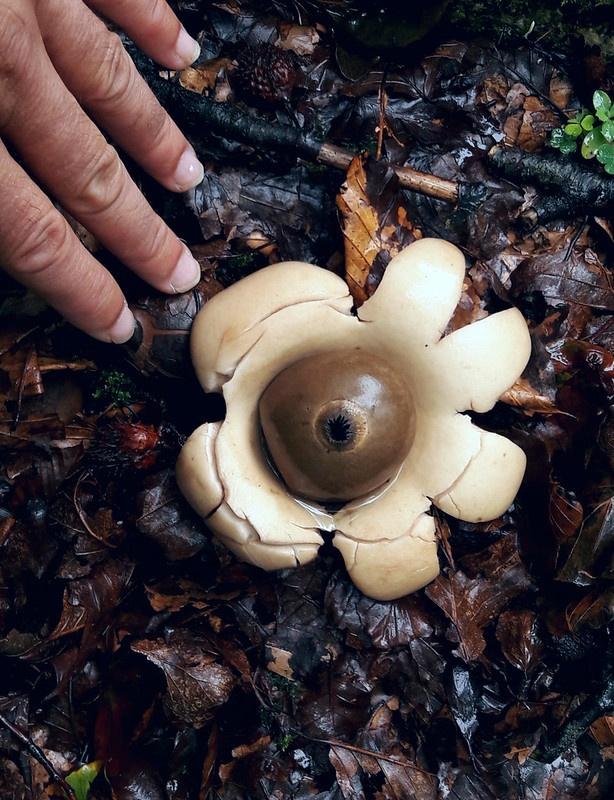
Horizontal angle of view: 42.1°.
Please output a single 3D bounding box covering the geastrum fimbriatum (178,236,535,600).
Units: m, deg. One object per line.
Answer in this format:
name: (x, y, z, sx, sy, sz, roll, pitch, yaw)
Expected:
geastrum fimbriatum: (0.160, 0.063, 2.586, 1.109, 0.421, 1.112, 5, 83, 2)
